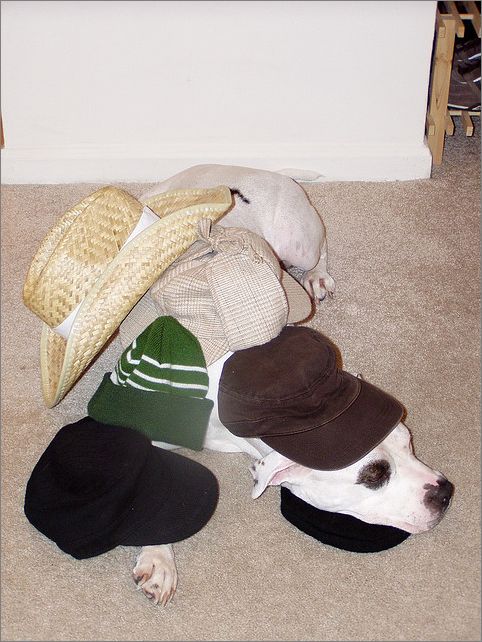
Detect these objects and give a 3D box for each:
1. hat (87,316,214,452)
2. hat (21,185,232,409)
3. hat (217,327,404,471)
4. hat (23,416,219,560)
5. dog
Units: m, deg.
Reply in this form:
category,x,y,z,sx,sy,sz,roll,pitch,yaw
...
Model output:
category,x,y,z,sx,sy,sz,roll,pitch,yaw
hat,-0.183,0.145,1.586,0.293,0.287,0.115,12,-5,3
hat,-0.260,-0.088,1.568,0.298,0.466,0.548,20,42,30
hat,0.113,0.182,1.457,0.402,0.170,0.258,15,45,25
hat,-0.279,0.380,1.479,0.441,0.137,0.287,6,50,11
dog,-0.032,0.009,1.861,0.836,0.468,1.302,-1,60,-14
